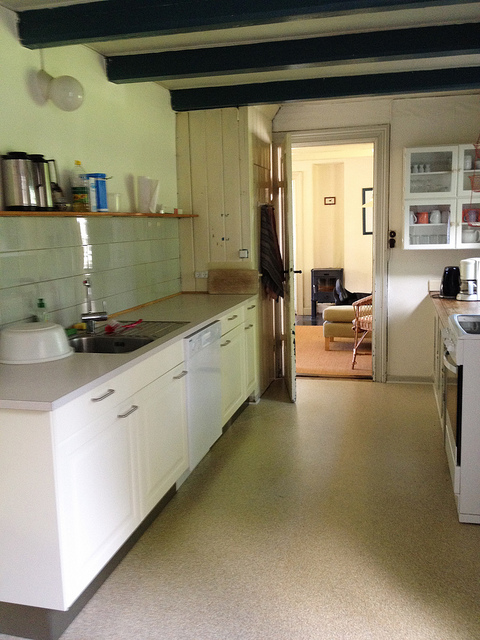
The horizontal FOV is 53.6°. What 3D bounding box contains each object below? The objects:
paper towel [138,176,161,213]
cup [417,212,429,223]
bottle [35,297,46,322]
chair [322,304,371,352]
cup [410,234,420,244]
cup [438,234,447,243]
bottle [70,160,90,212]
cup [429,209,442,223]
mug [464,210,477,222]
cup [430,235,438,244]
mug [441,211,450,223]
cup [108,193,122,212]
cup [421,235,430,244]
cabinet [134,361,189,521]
[{"bbox_3d":[-0.629,-0.859,3.273,0.101,0.246,0.208,1,5,22],"label":"paper towel"},{"bbox_3d":[1.625,-0.914,4.222,0.082,0.088,0.087,-3,17,1],"label":"cup"},{"bbox_3d":[-0.922,-0.049,2.185,0.049,0.110,0.145,-3,5,-23],"label":"bottle"},{"bbox_3d":[1.306,0.083,6.202,0.495,0.430,0.504,1,10,10],"label":"chair"},{"bbox_3d":[1.574,-0.731,4.263,0.066,0.109,0.071,-4,27,2],"label":"cup"},{"bbox_3d":[1.791,-0.723,4.194,0.064,0.132,0.067,1,12,0],"label":"cup"},{"bbox_3d":[-0.829,-0.700,2.441,0.085,0.280,0.128,-2,5,-11],"label":"bottle"},{"bbox_3d":[1.721,-0.911,4.175,0.107,0.120,0.084,-5,12,-2],"label":"cup"},{"bbox_3d":[1.977,-0.885,4.081,0.095,0.102,0.064,0,12,9],"label":"mug"},{"bbox_3d":[1.725,-0.718,4.217,0.059,0.124,0.063,2,6,0],"label":"cup"},{"bbox_3d":[1.807,-0.914,4.179,0.076,0.133,0.081,2,20,8],"label":"mug"},{"bbox_3d":[-0.744,-0.696,2.802,0.090,0.099,0.092,2,16,-1],"label":"cup"},{"bbox_3d":[1.658,-0.728,4.238,0.064,0.132,0.068,1,9,0],"label":"cup"},{"bbox_3d":[-0.350,0.534,2.156,0.215,0.507,0.255,4,9,-1],"label":"cabinet"}]
